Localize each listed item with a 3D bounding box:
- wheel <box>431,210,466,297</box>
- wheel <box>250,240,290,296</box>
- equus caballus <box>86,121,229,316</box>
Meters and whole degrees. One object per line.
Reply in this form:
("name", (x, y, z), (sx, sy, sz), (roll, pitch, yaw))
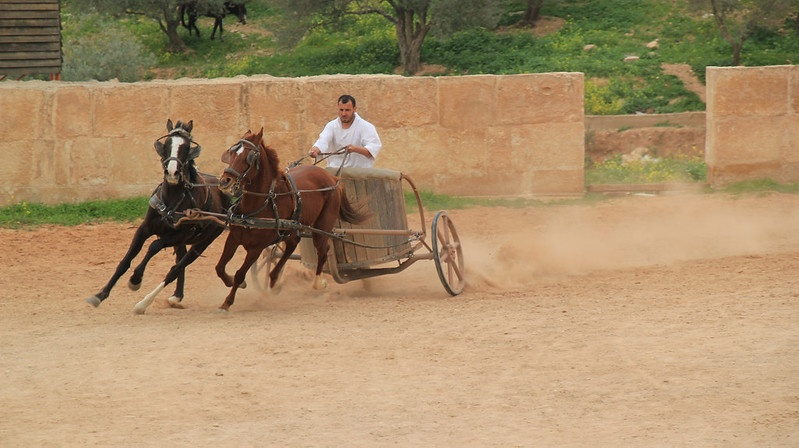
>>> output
("wheel", (1.228, 0.751, 32.641), (1.004, 1.976, 1.129), (0, 1, -5))
("wheel", (-3.380, 1.106, 33.179), (0.999, 1.290, 0.835), (1, 1, 8))
("equus caballus", (-6.006, 0.117, 33.378), (2.309, 4.843, 7.785), (15, -6, 1))
